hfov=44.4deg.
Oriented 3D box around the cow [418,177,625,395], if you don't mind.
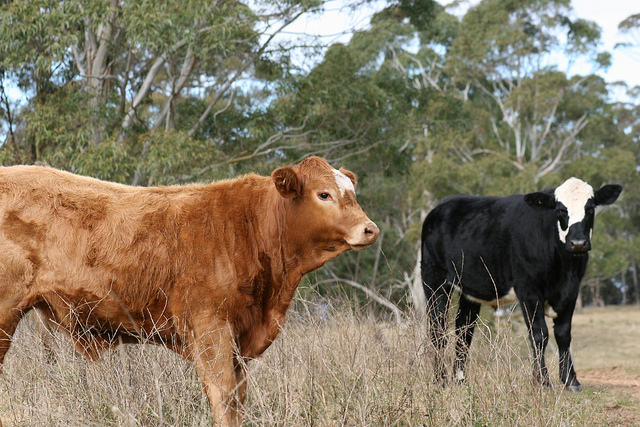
[{"bbox_3d":[2.773,1.123,11.247,1.411,2.903,3.839,0,-7,-24],"label":"cow"}]
